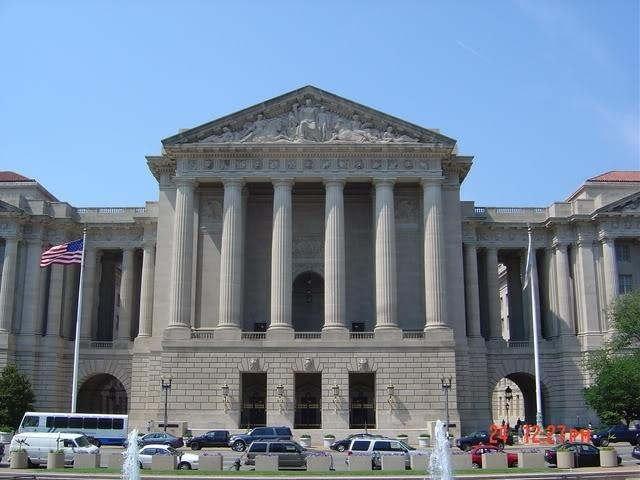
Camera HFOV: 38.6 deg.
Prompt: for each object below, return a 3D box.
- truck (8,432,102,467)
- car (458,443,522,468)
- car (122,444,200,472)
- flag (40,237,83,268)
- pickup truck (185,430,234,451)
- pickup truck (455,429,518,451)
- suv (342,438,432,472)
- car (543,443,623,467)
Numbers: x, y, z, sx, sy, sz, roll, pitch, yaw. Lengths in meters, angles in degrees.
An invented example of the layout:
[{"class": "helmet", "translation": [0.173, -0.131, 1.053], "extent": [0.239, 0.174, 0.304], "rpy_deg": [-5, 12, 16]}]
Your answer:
[{"class": "truck", "translation": [-19.141, 14.696, 65.433], "extent": [6.631, 2.158, 2.567], "rpy_deg": [2, -10, -5]}, {"class": "car", "translation": [12.177, 15.218, 64.396], "extent": [3.197, 1.591, 3.213], "rpy_deg": [-3, -15, 7]}, {"class": "car", "translation": [-10.697, 15.275, 64.057], "extent": [4.902, 1.648, 2.421], "rpy_deg": [0, -12, 0]}, {"class": "flag", "translation": [-23.824, 1.027, 83.599], "extent": [3.794, 2.432, 0.416], "rpy_deg": [-6, -36, 6]}, {"class": "pickup truck", "translation": [-8.930, 16.158, 74.338], "extent": [3.322, 1.091, 1.496], "rpy_deg": [2, -21, 1]}, {"class": "pickup truck", "translation": [13.487, 16.324, 74.499], "extent": [4.190, 1.393, 1.751], "rpy_deg": [4, -22, -3]}, {"class": "suv", "translation": [4.429, 15.056, 64.594], "extent": [4.873, 2.215, 2.966], "rpy_deg": [-3, -16, 7]}, {"class": "car", "translation": [18.387, 15.024, 64.284], "extent": [4.708, 1.440, 2.001], "rpy_deg": [-2, -7, -3]}]
